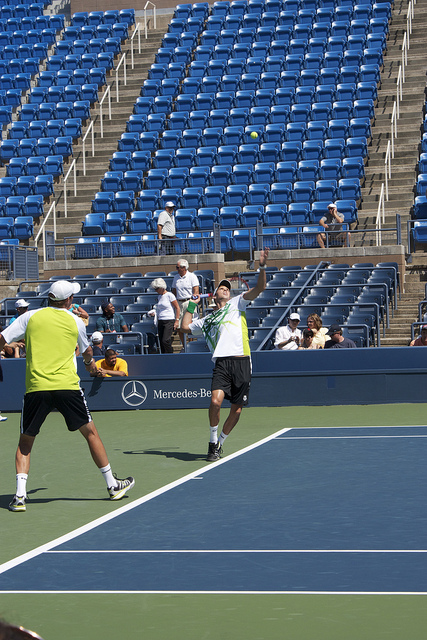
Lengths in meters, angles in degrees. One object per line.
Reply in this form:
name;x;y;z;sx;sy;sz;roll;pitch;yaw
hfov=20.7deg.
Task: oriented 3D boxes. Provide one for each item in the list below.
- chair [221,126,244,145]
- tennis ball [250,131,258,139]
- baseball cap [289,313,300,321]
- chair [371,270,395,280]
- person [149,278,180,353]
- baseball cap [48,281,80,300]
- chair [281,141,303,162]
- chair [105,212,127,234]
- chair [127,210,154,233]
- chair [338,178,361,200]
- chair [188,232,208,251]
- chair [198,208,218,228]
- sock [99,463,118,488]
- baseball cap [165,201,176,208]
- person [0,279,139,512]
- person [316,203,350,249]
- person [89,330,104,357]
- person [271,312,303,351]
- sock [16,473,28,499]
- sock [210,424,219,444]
chair;0.425;-4.088;25.965;0.504;0.393;0.498;-1;8;16
tennis ball;0.848;-3.674;23.207;0.161;0.163;0.159;-1;0;0
baseball cap;1.039;-0.049;14.908;0.118;0.078;0.183;1;-12;4
chair;2.686;-0.736;18.362;0.394;0.118;0.146;1;8;25
person;-0.612;-0.056;15.558;0.325;1.023;0.646;-3;7;-2
baseball cap;-1.125;-0.231;8.811;0.130;0.098;0.204;23;37;36
chair;1.662;-3.599;24.754;0.473;0.341;0.449;0;-3;2
chair;-1.963;-1.978;23.612;0.473;0.518;0.465;0;-7;3
chair;-1.430;-1.981;23.095;0.611;0.568;0.510;0;-9;4
chair;2.650;-2.537;22.556;0.388;0.429;0.498;3;-24;12
chair;-0.270;-1.433;21.009;0.369;0.414;0.391;-1;-15;4
chair;-0.123;-1.983;22.606;0.465;0.444;0.445;-1;-3;8
sock;-0.793;1.166;8.865;0.119;0.189;0.173;-4;7;-5
baseball cap;-0.774;-2.040;20.360;0.135;0.091;0.184;0;-8;-39
person;-1.216;0.547;9.219;0.930;1.771;1.303;-4;7;-7
person;2.089;-1.637;20.501;0.575;0.839;0.469;-1;1;2
person;-1.441;0.288;14.448;0.234;0.240;0.750;6;-15;-5
person;0.961;0.144;14.963;0.364;0.441;0.776;-2;7;4
sock;-1.434;1.228;8.723;0.063;0.198;0.122;-1;7;14
sock;-0.001;1.010;10.375;0.067;0.185;0.145;-3;7;1
